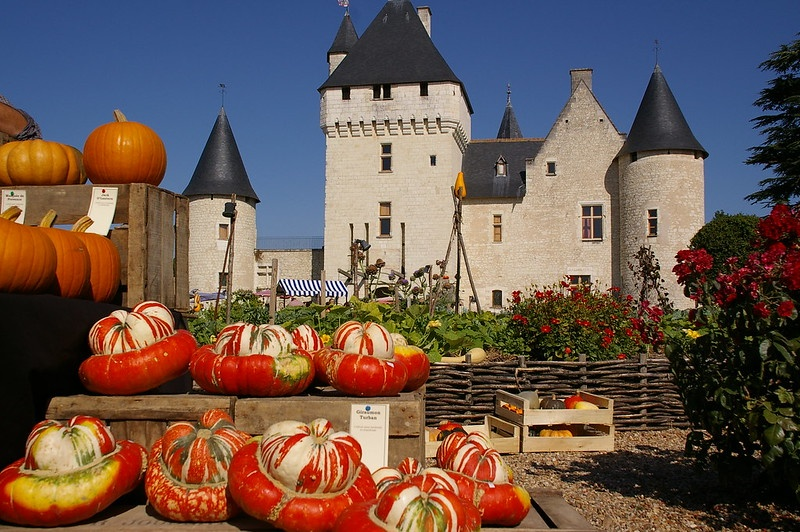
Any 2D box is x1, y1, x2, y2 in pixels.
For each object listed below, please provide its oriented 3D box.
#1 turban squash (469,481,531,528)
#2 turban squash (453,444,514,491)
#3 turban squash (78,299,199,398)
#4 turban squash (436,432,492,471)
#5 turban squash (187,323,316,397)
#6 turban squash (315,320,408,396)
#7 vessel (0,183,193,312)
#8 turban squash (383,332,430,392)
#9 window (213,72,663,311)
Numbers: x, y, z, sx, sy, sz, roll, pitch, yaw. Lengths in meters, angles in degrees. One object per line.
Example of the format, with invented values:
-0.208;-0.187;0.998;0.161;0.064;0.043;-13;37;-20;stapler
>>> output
0.704;1.565;5.040;0.305;0.176;0.309;4;-3;-34;turban squash
0.574;1.384;5.217;0.252;0.155;0.306;-4;19;-18;turban squash
-1.902;0.609;5.631;0.664;0.489;0.696;-1;13;21;turban squash
0.470;1.309;5.413;0.290;0.169;0.286;-11;15;-28;turban squash
-1.051;0.709;5.448;0.618;0.341;0.616;4;-7;-17;turban squash
-0.250;0.693;5.574;0.543;0.408;0.571;6;-3;39;turban squash
-2.636;-0.164;6.355;1.094;0.800;0.744;0;-4;-4;vessel
0.020;0.782;6.142;0.405;0.430;0.421;0;0;28;turban squash
2.977;-2.570;28.158;10.400;7.762;4.414;1;-2;3;window
